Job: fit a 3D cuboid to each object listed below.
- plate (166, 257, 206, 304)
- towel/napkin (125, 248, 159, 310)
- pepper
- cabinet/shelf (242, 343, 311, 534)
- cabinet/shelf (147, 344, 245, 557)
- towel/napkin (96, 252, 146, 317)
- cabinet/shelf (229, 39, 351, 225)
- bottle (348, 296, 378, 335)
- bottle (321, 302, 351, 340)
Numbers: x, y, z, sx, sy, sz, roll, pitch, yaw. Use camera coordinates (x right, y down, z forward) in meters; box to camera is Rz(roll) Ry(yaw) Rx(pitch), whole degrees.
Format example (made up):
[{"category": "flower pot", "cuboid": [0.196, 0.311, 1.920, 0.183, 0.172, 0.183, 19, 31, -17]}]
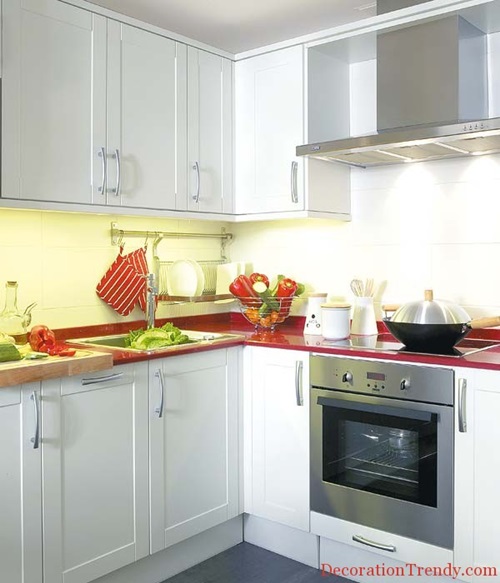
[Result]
[{"category": "plate", "cuboid": [-0.329, -0.051, 2.573, 0.241, 0.316, 0.106, -1, -1, 34]}, {"category": "towel/napkin", "cuboid": [-0.520, -0.060, 2.456, 0.046, 0.329, 0.269, -1, 5, 31]}, {"category": "pepper", "cuboid": [0.058, 0.013, 2.587, 0.223, 0.142, 0.242, 13, -7, 3]}, {"category": "cabinet/shelf", "cuboid": [0.066, 0.651, 2.345, 0.370, 0.675, 0.414, -2, -19, 23]}, {"category": "cabinet/shelf", "cuboid": [-0.322, 0.635, 2.226, 0.405, 0.726, 0.405, 3, -9, -29]}, {"category": "towel/napkin", "cuboid": [-0.575, -0.057, 2.422, 0.037, 0.272, 0.265, 10, -32, 30]}, {"category": "cabinet/shelf", "cuboid": [0.241, -0.775, 2.615, 0.604, 0.799, 0.593, 2, 13, 9]}, {"category": "bottle", "cuboid": [0.504, 0.106, 2.335, 0.140, 0.169, 0.157, -2, 6, -12]}, {"category": "bottle", "cuboid": [0.371, 0.131, 2.311, 0.148, 0.142, 0.147, 1, 0, 13]}]
